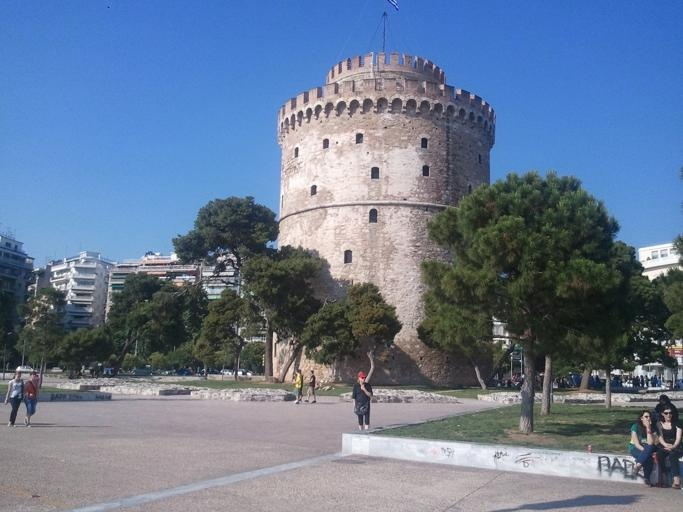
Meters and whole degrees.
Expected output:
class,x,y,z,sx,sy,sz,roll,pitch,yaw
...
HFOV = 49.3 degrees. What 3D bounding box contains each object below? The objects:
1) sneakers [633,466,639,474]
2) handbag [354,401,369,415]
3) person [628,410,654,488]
class,x,y,z,sx,sy,sz,roll,pitch,yaw
sneakers,6.049,4.344,15.292,0.107,0.197,0.129,-1,-10,17
handbag,0.539,3.987,19.776,0.346,0.370,0.188,-1,1,28
person,6.173,3.897,15.315,0.468,1.458,0.293,-1,-10,19
